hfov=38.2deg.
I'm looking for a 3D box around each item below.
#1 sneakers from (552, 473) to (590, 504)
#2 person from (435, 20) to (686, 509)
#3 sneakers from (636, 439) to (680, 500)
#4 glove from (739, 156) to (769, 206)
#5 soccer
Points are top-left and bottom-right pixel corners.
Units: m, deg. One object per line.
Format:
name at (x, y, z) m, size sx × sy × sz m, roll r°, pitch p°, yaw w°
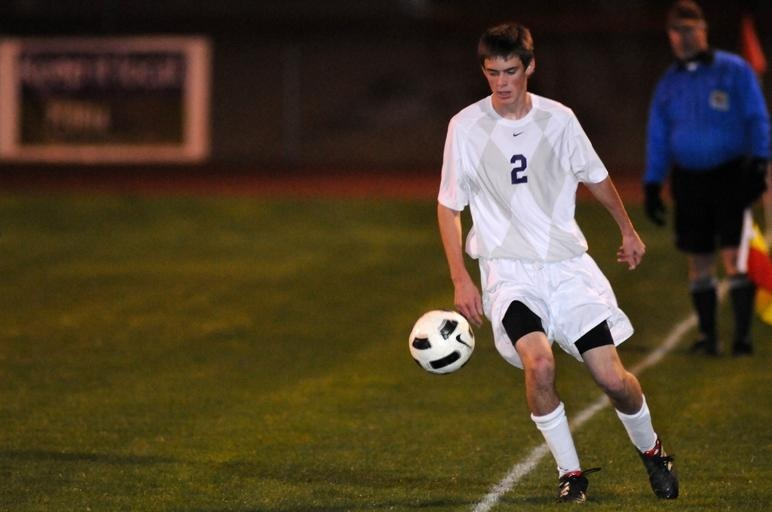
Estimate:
sneakers at (1.174, 1.449, 6.928) m, size 0.122 × 0.150 × 0.230 m, roll 0°, pitch -4°, yaw 6°
person at (1.049, 0.034, 7.086) m, size 1.527 × 2.920 × 0.648 m, roll 7°, pitch 8°, yaw -1°
sneakers at (1.738, 1.361, 7.214) m, size 0.197 × 0.232 × 0.607 m, roll 32°, pitch 10°, yaw -2°
glove at (2.926, -0.580, 8.889) m, size 0.153 × 0.404 × 0.364 m, roll 8°, pitch 8°, yaw 6°
soccer at (0.351, 0.612, 7.263) m, size 0.415 × 0.388 × 0.413 m, roll -16°, pitch -23°, yaw 39°
